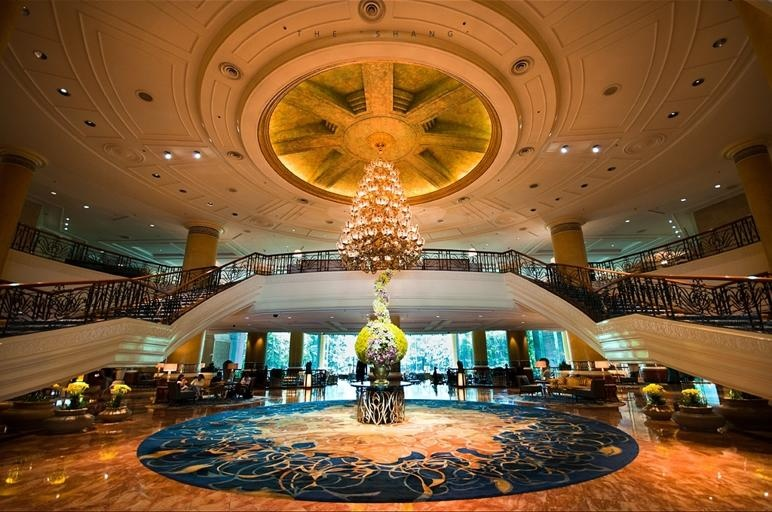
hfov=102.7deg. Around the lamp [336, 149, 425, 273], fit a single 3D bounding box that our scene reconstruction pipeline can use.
[{"bbox_3d":[-0.113,-1.392,8.831,2.108,3.718,1.199,0,-17,-3],"label":"lamp"}]
